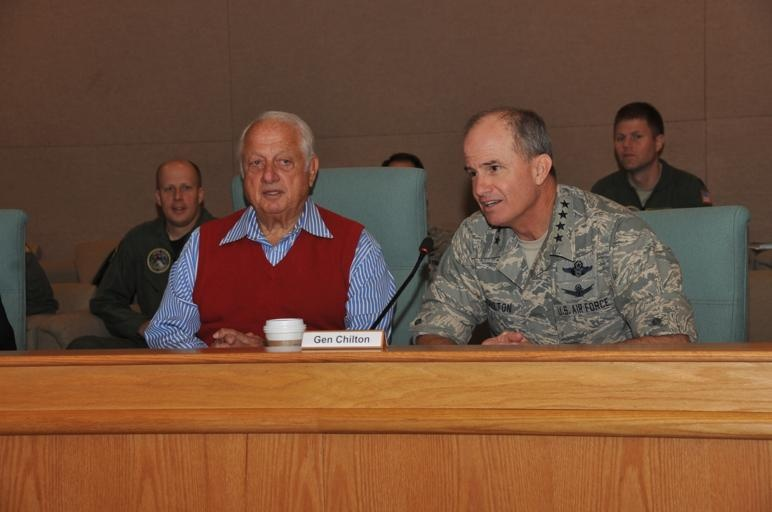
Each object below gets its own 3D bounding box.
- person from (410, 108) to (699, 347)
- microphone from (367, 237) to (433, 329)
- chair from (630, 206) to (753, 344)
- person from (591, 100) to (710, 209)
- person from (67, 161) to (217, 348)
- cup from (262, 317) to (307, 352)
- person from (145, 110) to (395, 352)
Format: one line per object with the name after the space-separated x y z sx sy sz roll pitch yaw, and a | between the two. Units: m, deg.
0.701 -0.002 3.704 1.348 1.094 0.901 -3 -1 42 | person
0.050 0.118 3.828 0.068 0.478 0.057 29 13 -26 | microphone
1.444 0.077 3.756 0.475 0.677 0.532 2 0 -34 | chair
1.580 -0.566 5.303 0.854 0.651 0.534 5 4 37 | person
-1.159 0.092 4.642 0.895 1.132 0.967 -1 13 -12 | person
-0.345 0.273 3.034 0.148 0.105 0.146 -2 0 0 | cup
-0.494 -0.057 3.778 1.256 1.046 0.735 2 13 18 | person
